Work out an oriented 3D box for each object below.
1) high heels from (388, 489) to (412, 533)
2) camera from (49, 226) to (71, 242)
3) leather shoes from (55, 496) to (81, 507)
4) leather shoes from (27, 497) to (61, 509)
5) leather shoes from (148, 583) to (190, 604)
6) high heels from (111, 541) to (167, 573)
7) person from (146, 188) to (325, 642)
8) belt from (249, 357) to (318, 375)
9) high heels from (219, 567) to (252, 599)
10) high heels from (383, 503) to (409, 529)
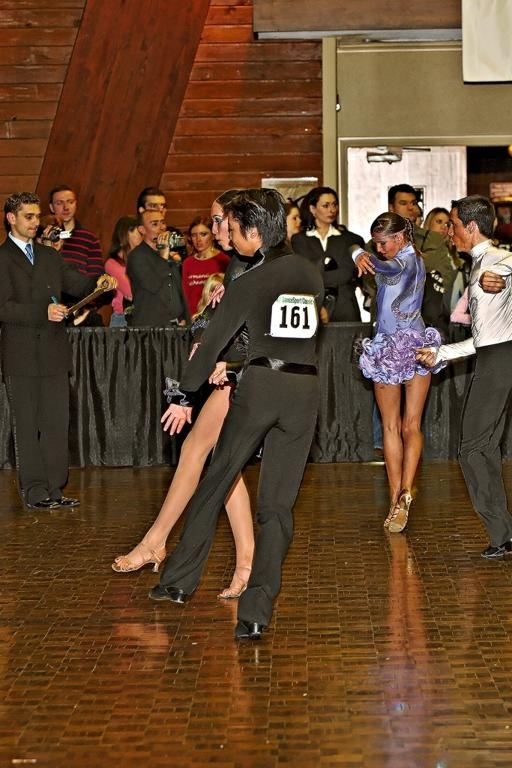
[{"bbox_3d":[0.848,0.748,3.872,0.107,0.249,0.079,11,-13,43],"label":"high heels"},{"bbox_3d":[-1.542,-1.165,5.226,0.170,0.072,0.112,3,32,4],"label":"camera"},{"bbox_3d":[-1.279,0.798,4.523,0.167,0.065,0.063,-2,16,-3],"label":"leather shoes"},{"bbox_3d":[-1.423,0.801,4.482,0.225,0.053,0.084,-2,1,1],"label":"leather shoes"},{"bbox_3d":[-0.354,0.858,2.704,0.140,0.054,0.081,13,8,26],"label":"leather shoes"},{"bbox_3d":[-0.558,0.829,3.127,0.247,0.121,0.137,1,12,4],"label":"high heels"},{"bbox_3d":[-0.066,0.106,2.389,0.385,1.561,0.663,1,-2,-44],"label":"person"},{"bbox_3d":[0.090,-0.056,2.236,0.153,0.032,0.080,9,2,-14],"label":"belt"},{"bbox_3d":[-0.064,0.844,2.822,0.097,0.111,0.267,-2,-11,24],"label":"high heels"},{"bbox_3d":[0.804,0.772,3.868,0.123,0.160,0.163,0,-2,6],"label":"high heels"}]
